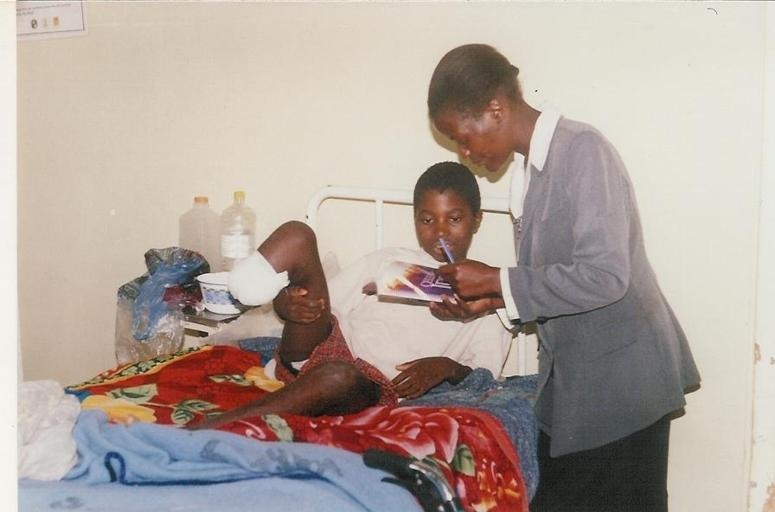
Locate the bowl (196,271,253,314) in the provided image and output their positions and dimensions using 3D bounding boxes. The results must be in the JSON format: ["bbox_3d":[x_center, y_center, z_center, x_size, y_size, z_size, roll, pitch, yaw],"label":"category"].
[{"bbox_3d":[-0.547,0.142,2.318,0.179,0.103,0.174,1,2,0],"label":"bowl"}]

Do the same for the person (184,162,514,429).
[{"bbox_3d":[0.011,0.070,2.108,0.545,0.585,1.031,26,29,38],"label":"person"}]
